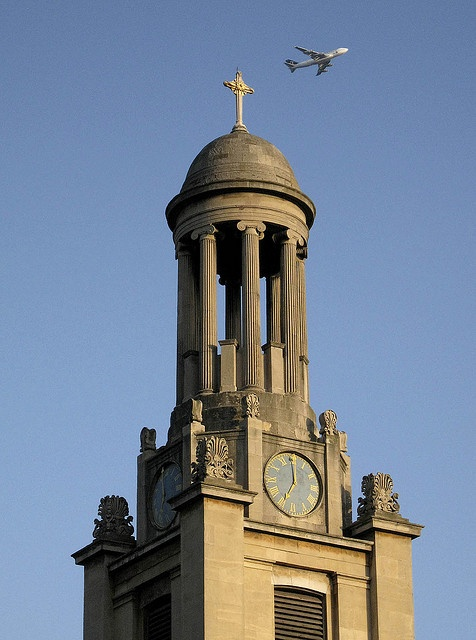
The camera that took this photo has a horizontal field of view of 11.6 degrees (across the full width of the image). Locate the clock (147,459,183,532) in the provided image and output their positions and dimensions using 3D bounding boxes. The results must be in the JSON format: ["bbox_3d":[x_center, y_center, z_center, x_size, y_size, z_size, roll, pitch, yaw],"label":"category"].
[{"bbox_3d":[-2.212,5.042,69.999,0.082,2.073,2.528,11,-62,30],"label":"clock"}]

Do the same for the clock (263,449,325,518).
[{"bbox_3d":[1.513,4.730,68.924,1.192,1.404,0.123,38,-41,-26],"label":"clock"}]
